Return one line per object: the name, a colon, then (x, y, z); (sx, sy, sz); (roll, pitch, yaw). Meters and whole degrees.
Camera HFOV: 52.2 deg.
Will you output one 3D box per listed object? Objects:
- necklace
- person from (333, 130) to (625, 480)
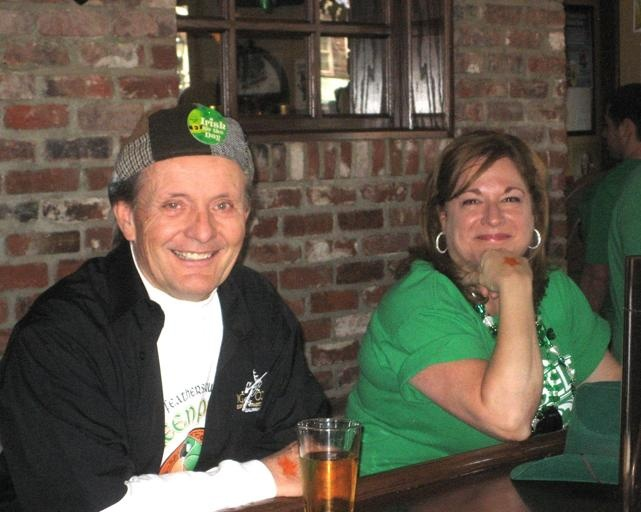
necklace: (0.555, 0.184, 1.906); (0.204, 0.063, 0.215); (1, 46, -14)
person: (0.458, 0.111, 2.042); (0.607, 0.993, 0.718); (0, 5, 40)
